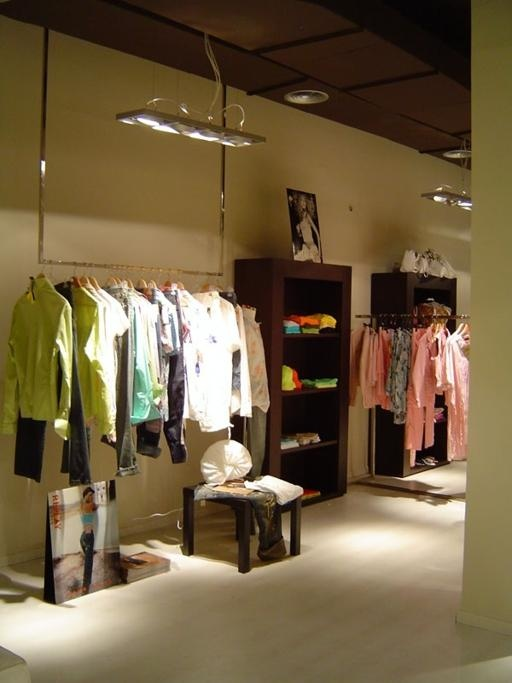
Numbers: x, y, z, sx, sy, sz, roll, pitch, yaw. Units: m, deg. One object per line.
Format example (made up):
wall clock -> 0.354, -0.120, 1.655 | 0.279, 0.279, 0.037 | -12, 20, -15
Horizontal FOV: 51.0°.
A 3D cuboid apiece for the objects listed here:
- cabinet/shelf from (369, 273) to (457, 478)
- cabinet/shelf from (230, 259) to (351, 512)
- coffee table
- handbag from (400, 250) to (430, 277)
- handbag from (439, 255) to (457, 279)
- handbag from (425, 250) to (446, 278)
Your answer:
cabinet/shelf -> 1.693, 0.352, 6.116 | 0.566, 2.054, 1.516 | 0, 0, 43
cabinet/shelf -> 0.363, 0.366, 4.762 | 0.553, 2.041, 1.216 | 0, 0, 38
coffee table -> -0.128, 1.136, 3.432 | 0.667, 0.511, 0.700 | 0, 0, -43
handbag -> 1.788, -0.885, 6.047 | 0.285, 0.310, 0.305 | -3, -2, 36
handbag -> 2.279, -0.863, 6.462 | 0.209, 0.330, 0.092 | -8, 3, -36
handbag -> 2.121, -0.903, 6.365 | 0.204, 0.205, 0.345 | 2, 9, -11
